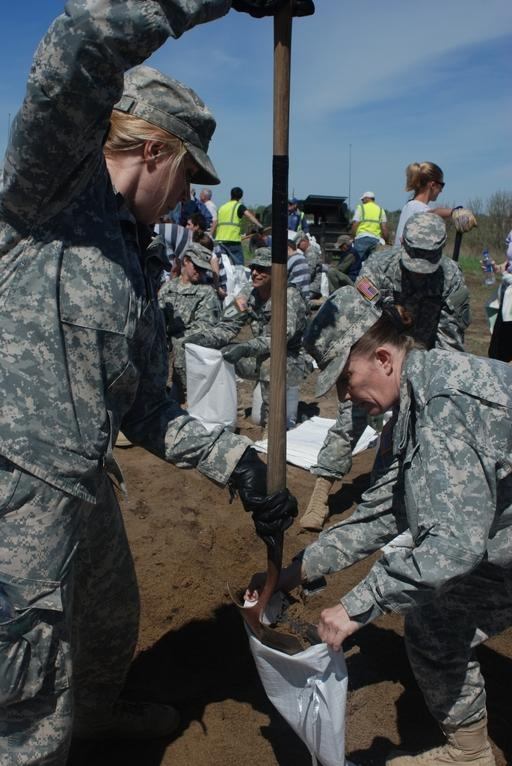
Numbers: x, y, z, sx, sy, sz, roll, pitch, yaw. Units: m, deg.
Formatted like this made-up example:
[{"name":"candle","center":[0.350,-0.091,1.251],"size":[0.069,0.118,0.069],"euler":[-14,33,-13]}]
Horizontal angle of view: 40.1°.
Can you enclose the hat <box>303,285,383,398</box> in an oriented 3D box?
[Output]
[{"name":"hat","center":[0.256,-0.149,2.193],"size":[0.177,0.338,0.231],"euler":[36,-2,1]}]

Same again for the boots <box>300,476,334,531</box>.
[{"name":"boots","center":[0.359,0.727,4.184],"size":[0.139,0.272,0.409],"euler":[3,3,17]}]

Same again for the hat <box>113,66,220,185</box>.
[{"name":"hat","center":[-0.226,-0.668,1.779],"size":[0.331,0.166,0.233],"euler":[27,-1,-20]}]

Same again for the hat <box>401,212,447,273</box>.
[{"name":"hat","center":[0.928,-0.776,3.897],"size":[0.236,0.348,0.345],"euler":[4,9,10]}]

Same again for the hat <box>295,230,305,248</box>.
[{"name":"hat","center":[0.664,-2.164,10.522],"size":[0.137,0.230,0.142],"euler":[21,4,4]}]
